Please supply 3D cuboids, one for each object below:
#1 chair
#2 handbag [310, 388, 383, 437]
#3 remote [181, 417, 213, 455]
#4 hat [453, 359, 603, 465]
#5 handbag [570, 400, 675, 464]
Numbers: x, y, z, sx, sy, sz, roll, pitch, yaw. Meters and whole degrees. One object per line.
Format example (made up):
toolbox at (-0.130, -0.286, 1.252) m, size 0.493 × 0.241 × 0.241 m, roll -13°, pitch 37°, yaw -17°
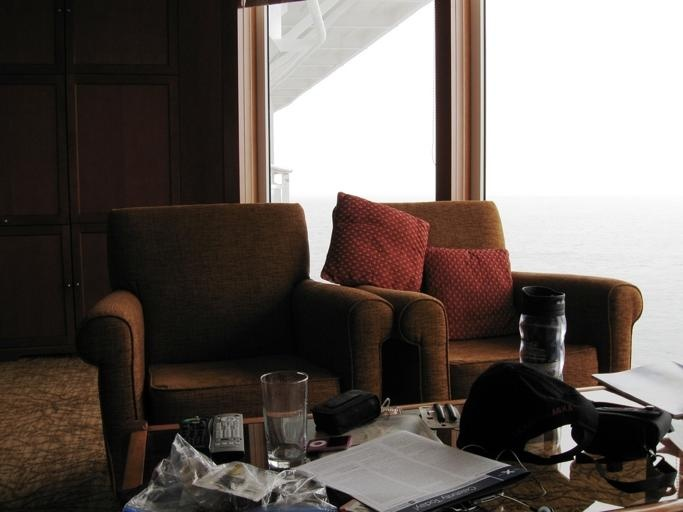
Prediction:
chair at (0.044, 0.239, 2.061) m, size 1.328 × 0.558 × 0.528 m, roll -1°, pitch -1°, yaw -14°
handbag at (0.013, 0.403, 1.518) m, size 0.151 × 0.057 × 0.096 m, roll -13°, pitch 9°, yaw -35°
remote at (-0.355, 0.438, 1.453) m, size 0.069 × 0.027 × 0.100 m, roll -1°, pitch 31°, yaw -4°
hat at (0.445, 0.362, 1.410) m, size 0.237 × 0.165 × 0.338 m, roll -12°, pitch 5°, yaw -42°
handbag at (0.632, 0.390, 1.352) m, size 0.180 × 0.069 × 0.163 m, roll 1°, pitch 28°, yaw 21°
